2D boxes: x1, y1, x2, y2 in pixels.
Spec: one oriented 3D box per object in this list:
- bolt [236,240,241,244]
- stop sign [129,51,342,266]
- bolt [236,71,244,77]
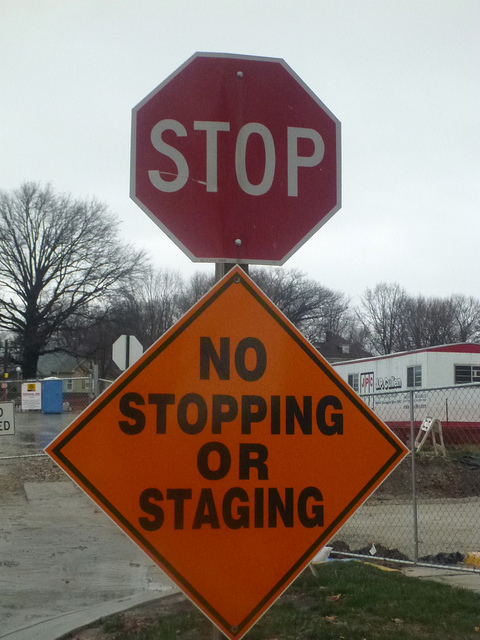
[{"bbox_3d":[-0.008,-0.299,3.051,0.011,0.014,0.003,18,-7,-18],"label":"bolt"},{"bbox_3d":[-0.037,-0.577,3.052,0.740,0.979,0.059,5,-16,-14],"label":"stop sign"},{"bbox_3d":[-0.002,-0.957,3.182,0.017,0.022,0.006,1,12,1],"label":"bolt"}]
